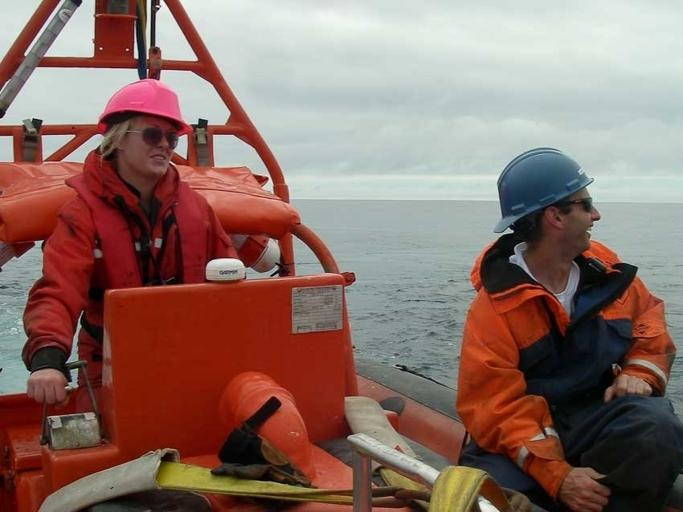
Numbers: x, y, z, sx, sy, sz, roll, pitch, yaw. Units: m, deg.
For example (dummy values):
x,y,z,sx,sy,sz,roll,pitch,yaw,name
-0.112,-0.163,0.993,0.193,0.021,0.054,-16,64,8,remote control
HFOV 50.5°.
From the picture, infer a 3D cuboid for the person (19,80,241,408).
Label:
x,y,z,sx,sy,sz,roll,pitch,yaw,name
-1.094,-0.120,3.412,0.567,1.503,1.133,3,2,33,person
